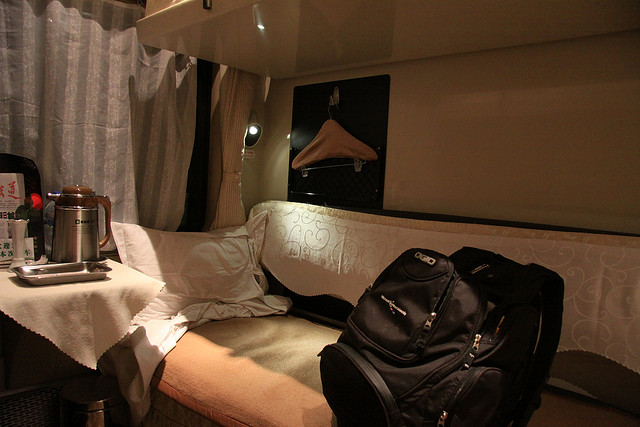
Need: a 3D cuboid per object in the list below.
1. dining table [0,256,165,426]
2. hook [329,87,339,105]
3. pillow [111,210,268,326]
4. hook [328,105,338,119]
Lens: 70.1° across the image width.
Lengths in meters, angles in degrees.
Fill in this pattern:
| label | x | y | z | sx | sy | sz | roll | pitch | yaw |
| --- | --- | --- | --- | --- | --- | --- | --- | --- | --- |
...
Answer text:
| label | x | y | z | sx | sy | sz | roll | pitch | yaw |
| --- | --- | --- | --- | --- | --- | --- | --- | --- | --- |
| dining table | -1.256 | 0.707 | 2.375 | 0.692 | 0.851 | 0.514 | 3 | 6 | -33 |
| hook | 0.102 | -0.802 | 3.160 | 0.045 | 0.135 | 0.047 | 6 | -2 | 22 |
| pillow | -0.816 | 0.301 | 2.968 | 0.859 | 0.597 | 0.553 | -1 | 7 | -39 |
| hook | 0.090 | -0.712 | 3.202 | 0.017 | 0.096 | 0.078 | 0 | 7 | -43 |
